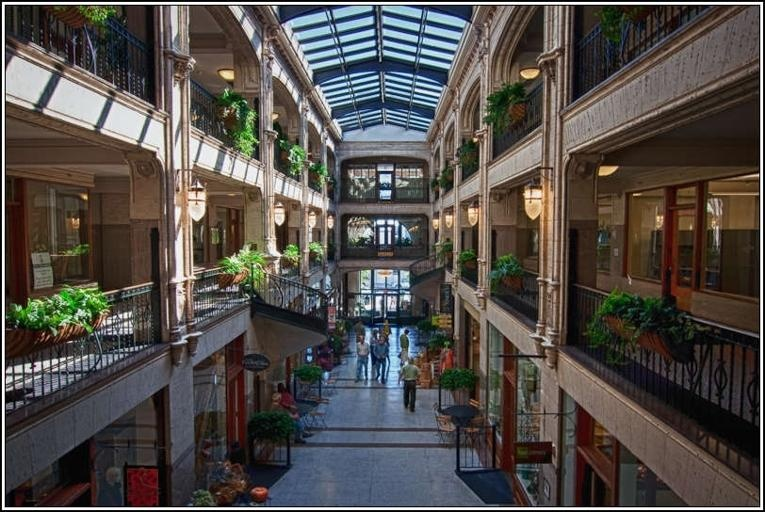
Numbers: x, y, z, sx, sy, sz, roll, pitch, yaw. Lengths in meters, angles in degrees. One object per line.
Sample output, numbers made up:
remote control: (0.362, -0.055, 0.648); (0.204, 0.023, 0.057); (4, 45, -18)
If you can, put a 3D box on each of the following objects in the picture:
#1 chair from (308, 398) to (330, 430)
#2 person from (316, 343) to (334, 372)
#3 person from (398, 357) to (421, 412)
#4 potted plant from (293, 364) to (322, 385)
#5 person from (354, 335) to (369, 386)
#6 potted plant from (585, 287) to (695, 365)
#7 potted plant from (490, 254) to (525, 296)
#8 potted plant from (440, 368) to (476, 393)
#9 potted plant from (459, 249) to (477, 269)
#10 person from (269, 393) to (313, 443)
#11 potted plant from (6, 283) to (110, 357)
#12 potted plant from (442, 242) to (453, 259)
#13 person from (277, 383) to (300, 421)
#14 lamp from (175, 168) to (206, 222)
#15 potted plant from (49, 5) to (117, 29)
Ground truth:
chair: (-1.966, 4.999, 17.160); (0.667, 0.987, 0.556); (1, -5, -5)
person: (-2.471, 4.258, 23.097); (0.693, 0.933, 1.451); (1, 3, -4)
person: (0.886, 4.286, 18.027); (0.450, 1.513, 0.953); (1, 3, 3)
potted plant: (-2.415, 3.809, 17.824); (0.789, 0.559, 0.794); (3, -7, -8)
person: (-0.787, 3.995, 21.876); (0.493, 1.652, 1.596); (1, 3, -3)
potted plant: (3.657, 0.980, 7.750); (0.563, 0.915, 1.554); (0, 3, -19)
potted plant: (2.872, 0.291, 12.793); (0.593, 0.629, 0.502); (16, -9, 42)
potted plant: (2.333, 3.758, 16.783); (0.753, 0.535, 0.757); (0, -3, -8)
potted plant: (2.961, 0.100, 18.924); (0.579, 0.622, 0.598); (0, 0, 24)
person: (-2.626, 4.549, 15.647); (1.175, 1.326, 1.251); (1, -1, -14)
potted plant: (-4.455, 0.878, 7.386); (0.888, 0.513, 1.483); (-9, 12, 14)
potted plant: (2.800, -0.276, 23.388); (0.553, 0.583, 0.563); (1, 3, 33)
person: (-2.728, 4.275, 15.449); (0.577, 0.494, 1.551); (-2, 35, -16)
lamp: (-3.753, -1.187, 10.784); (0.524, 1.024, 1.255); (0, 3, -12)
potted plant: (-4.106, -3.302, 7.542); (0.432, 0.152, 0.436); (-2, 6, -15)
